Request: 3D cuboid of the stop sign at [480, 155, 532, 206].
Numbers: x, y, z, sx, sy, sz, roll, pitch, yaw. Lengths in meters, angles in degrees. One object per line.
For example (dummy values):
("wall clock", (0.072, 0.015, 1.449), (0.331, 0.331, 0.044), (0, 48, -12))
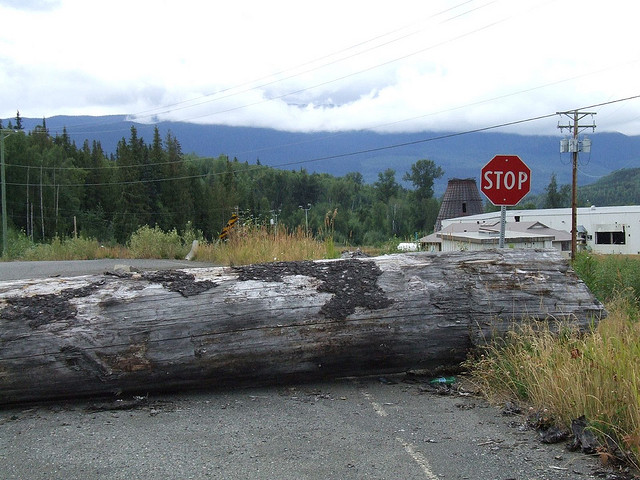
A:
("stop sign", (3.339, -0.988, 9.183), (0.848, 0.950, 0.677), (-9, 15, -32))
